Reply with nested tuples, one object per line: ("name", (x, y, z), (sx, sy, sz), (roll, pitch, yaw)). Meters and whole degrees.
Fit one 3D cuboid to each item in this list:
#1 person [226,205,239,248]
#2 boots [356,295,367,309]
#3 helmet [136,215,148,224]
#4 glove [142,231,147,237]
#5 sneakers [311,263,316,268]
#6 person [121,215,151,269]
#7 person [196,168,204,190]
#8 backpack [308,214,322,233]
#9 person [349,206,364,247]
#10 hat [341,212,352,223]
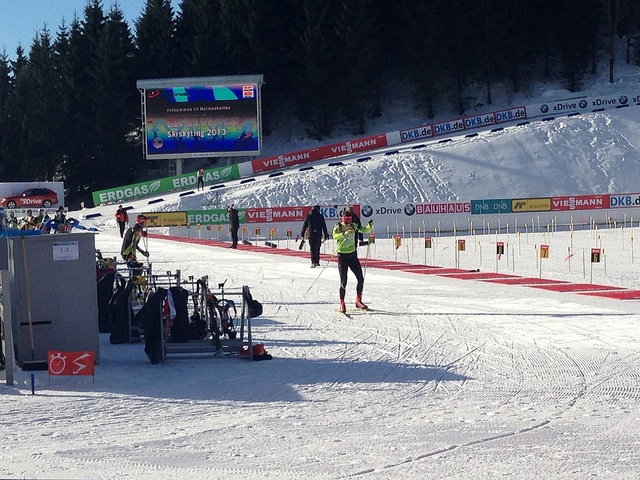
("person", (-3.577, -0.564, 44.726), (0.387, 1.525, 1.730), (-4, 2, -5))
("boots", (1.210, 1.886, 31.629), (0.436, 0.440, 0.209), (-1, 2, 34))
("helmet", (-5.493, -0.636, 33.231), (0.309, 0.305, 0.260), (-18, 26, -20))
("glove", (-5.537, -0.221, 33.959), (0.158, 0.231, 0.081), (-1, -6, -18))
("sneakers", (-0.199, 0.902, 37.975), (0.206, 0.124, 0.181), (-4, 2, 4))
("person", (-5.829, 0.369, 33.639), (0.836, 2.313, 0.754), (6, 16, -3))
("person", (-7.210, -3.620, 64.767), (0.372, 1.129, 1.965), (-4, 2, -8))
("backpack", (-0.173, -0.596, 38.487), (0.550, 0.849, 0.446), (3, -8, -26))
("person", (1.129, -0.483, 34.132), (0.751, 1.119, 0.281), (12, -22, -32))
("hat", (0.819, -0.667, 31.807), (0.244, 0.343, 0.330), (-1, -3, 5))
